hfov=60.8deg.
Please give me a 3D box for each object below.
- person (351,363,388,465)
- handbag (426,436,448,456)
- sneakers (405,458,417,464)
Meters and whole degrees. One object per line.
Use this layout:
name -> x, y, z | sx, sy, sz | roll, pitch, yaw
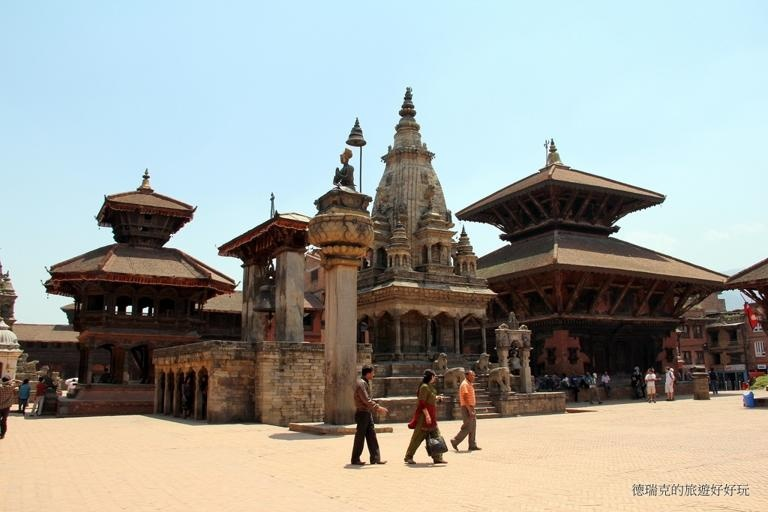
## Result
person -> -0.437, 3.772, 15.495 | 0.778, 2.297, 1.159 | -1, -14, -1
handbag -> 1.166, 4.435, 15.026 | 0.442, 0.458, 0.254 | 0, -14, -3
sneakers -> 0.583, 4.788, 15.049 | 0.247, 0.127, 0.256 | 1, -13, -7
